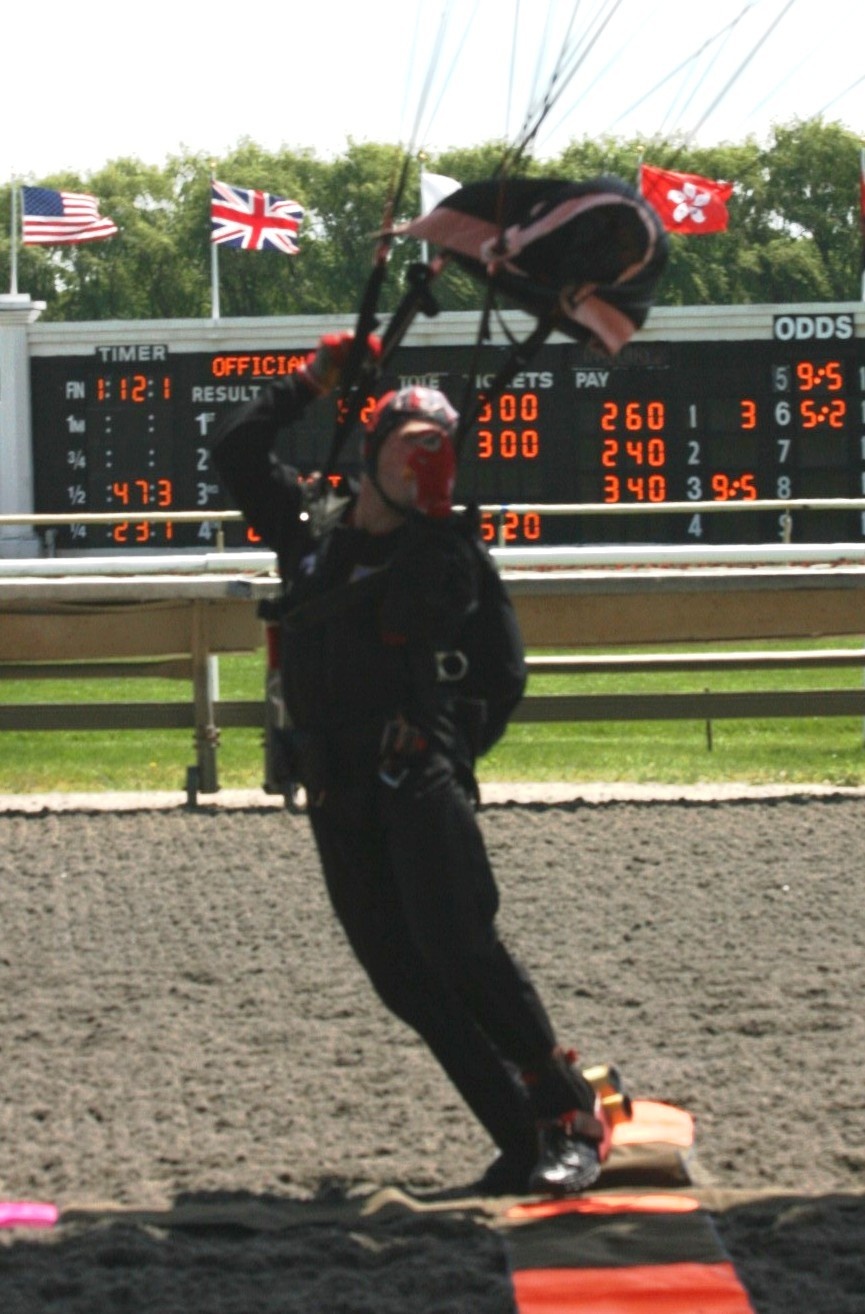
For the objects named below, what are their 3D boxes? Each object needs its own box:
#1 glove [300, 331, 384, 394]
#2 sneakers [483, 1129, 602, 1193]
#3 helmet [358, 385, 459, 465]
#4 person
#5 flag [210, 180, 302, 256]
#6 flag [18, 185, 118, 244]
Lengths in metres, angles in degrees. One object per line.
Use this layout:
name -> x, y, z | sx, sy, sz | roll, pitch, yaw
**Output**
glove -> -0.164, -0.504, 3.777 | 0.068, 0.104, 0.127 | -5, 7, -35
sneakers -> 0.191, 0.893, 3.883 | 0.147, 0.082, 0.120 | -20, -1, 8
helmet -> -0.038, -0.403, 3.848 | 0.160, 0.134, 0.203 | 0, 6, 1
person -> -0.029, 0.194, 3.897 | 0.653, 1.505, 0.241 | 0, 6, 8
flag -> -1.461, -3.705, 18.684 | 0.638, 0.529, 0.932 | 0, 6, 8
flag -> -3.061, -3.759, 18.839 | 0.712, 0.527, 1.180 | -1, 6, -8
